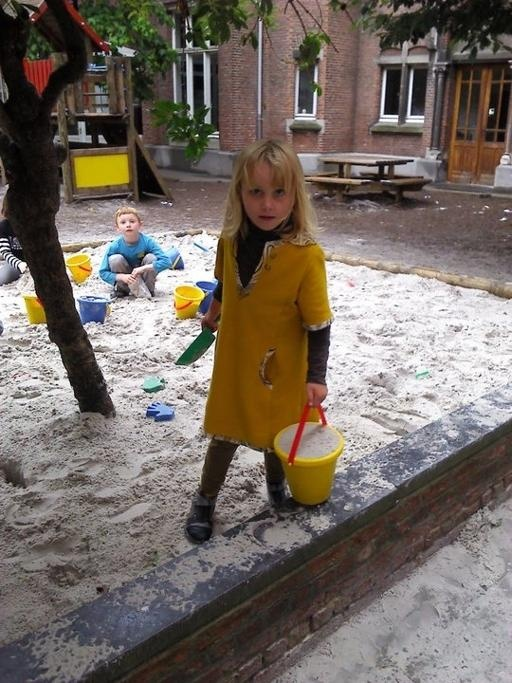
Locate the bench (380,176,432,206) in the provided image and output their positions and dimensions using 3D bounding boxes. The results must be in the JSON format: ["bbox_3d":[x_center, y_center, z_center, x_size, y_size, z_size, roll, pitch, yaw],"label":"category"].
[{"bbox_3d":[3.071,-3.221,11.426,1.102,0.243,1.001,-17,32,-30],"label":"bench"}]

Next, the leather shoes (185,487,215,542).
[{"bbox_3d":[-0.193,0.608,1.881,0.069,0.070,0.188,5,12,-7],"label":"leather shoes"}]

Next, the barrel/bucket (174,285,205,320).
[{"bbox_3d":[-0.542,-0.343,4.355,0.277,0.214,0.259,13,33,-9],"label":"barrel/bucket"}]

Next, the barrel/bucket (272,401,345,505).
[{"bbox_3d":[0.159,0.363,1.695,0.210,0.273,0.240,-5,20,-10],"label":"barrel/bucket"}]

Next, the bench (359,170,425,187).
[{"bbox_3d":[2.909,-3.536,11.797,1.071,0.132,1.014,4,20,-3],"label":"bench"}]

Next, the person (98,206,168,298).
[{"bbox_3d":[-1.101,-0.791,4.866,0.490,0.786,0.482,11,24,30],"label":"person"}]

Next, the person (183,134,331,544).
[{"bbox_3d":[-0.017,0.038,1.770,0.495,1.282,0.476,2,21,7],"label":"person"}]

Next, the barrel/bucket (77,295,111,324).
[{"bbox_3d":[-1.250,-0.228,4.237,0.287,0.186,0.248,0,13,-8],"label":"barrel/bucket"}]

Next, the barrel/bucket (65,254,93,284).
[{"bbox_3d":[-1.682,-0.673,5.212,0.200,0.262,0.338,-8,21,-19],"label":"barrel/bucket"}]
